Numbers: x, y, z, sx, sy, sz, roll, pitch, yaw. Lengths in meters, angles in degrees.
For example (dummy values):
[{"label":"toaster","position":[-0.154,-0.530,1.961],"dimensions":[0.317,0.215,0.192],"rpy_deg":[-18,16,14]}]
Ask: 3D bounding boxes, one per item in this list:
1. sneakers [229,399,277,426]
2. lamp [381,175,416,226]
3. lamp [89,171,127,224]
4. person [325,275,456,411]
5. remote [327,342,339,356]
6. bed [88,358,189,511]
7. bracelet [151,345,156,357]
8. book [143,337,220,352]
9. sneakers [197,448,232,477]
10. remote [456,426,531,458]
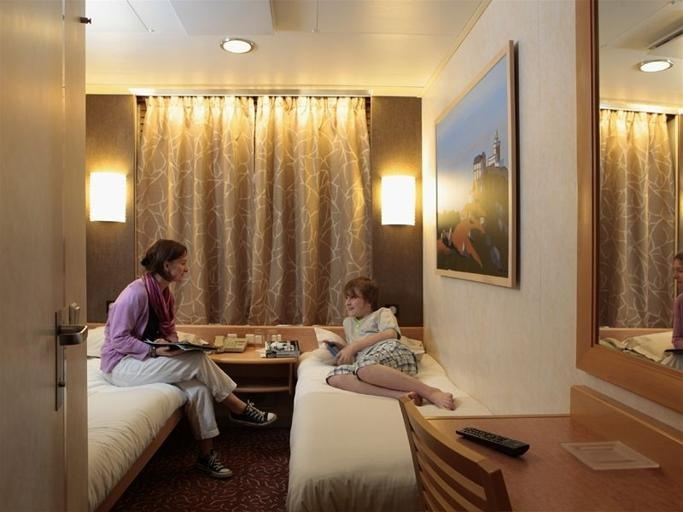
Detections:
[{"label":"sneakers","position":[-0.582,1.057,3.402],"dimensions":[0.376,0.192,0.132],"rpy_deg":[2,10,-9]},{"label":"lamp","position":[0.445,-0.441,3.912],"dimensions":[0.252,0.368,0.111],"rpy_deg":[-2,4,-5]},{"label":"lamp","position":[-1.802,-0.461,3.879],"dimensions":[0.284,0.403,0.168],"rpy_deg":[-3,5,-24]},{"label":"person","position":[0.137,0.491,3.160],"dimensions":[0.539,0.778,1.187],"rpy_deg":[-15,-6,-1]},{"label":"remote","position":[-0.053,0.640,3.449],"dimensions":[0.035,0.070,0.093],"rpy_deg":[-10,20,-38]},{"label":"bed","position":[-1.081,0.932,2.662],"dimensions":[0.646,0.312,1.074],"rpy_deg":[-1,3,-27]},{"label":"bracelet","position":[-1.142,0.583,3.053],"dimensions":[0.034,0.049,0.050],"rpy_deg":[1,-6,-7]},{"label":"book","position":[-0.972,0.551,3.041],"dimensions":[0.430,0.088,0.194],"rpy_deg":[-3,4,-16]},{"label":"sneakers","position":[-0.782,1.247,3.071],"dimensions":[0.095,0.129,0.288],"rpy_deg":[4,-5,-38]},{"label":"remote","position":[0.492,0.580,1.629],"dimensions":[0.070,0.045,0.181],"rpy_deg":[1,4,-36]}]
